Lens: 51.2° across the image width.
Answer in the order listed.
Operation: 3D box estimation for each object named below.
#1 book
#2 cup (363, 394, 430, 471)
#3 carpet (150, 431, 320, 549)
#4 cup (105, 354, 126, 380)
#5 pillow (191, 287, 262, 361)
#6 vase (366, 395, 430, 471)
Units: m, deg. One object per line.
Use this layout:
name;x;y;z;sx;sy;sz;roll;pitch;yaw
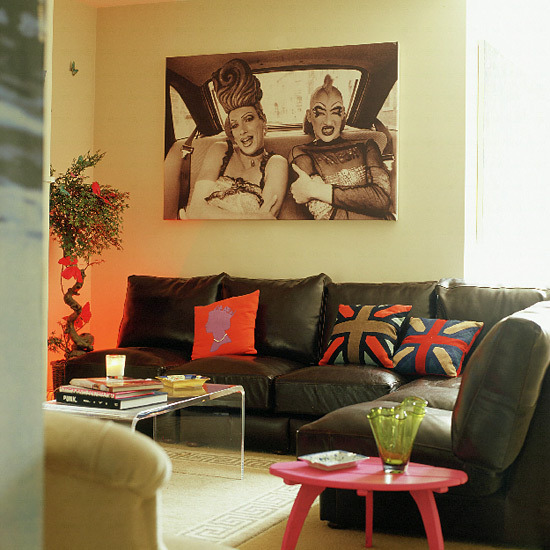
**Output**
book;-0.770;0.555;2.647;0.530;0.147;0.345;5;3;-10
cup;0.412;0.549;1.911;0.219;0.206;0.196;-9;-32;25
carpet;-0.231;1.069;2.742;0.945;0.006;0.837;0;-2;24
cup;-0.821;0.471;2.924;0.081;0.117;0.162;4;3;-21
pillow;-0.334;0.362;4.000;0.437;0.389;0.155;-11;-36;14
vase;0.387;0.515;1.918;0.233;0.220;0.220;-2;-8;11
